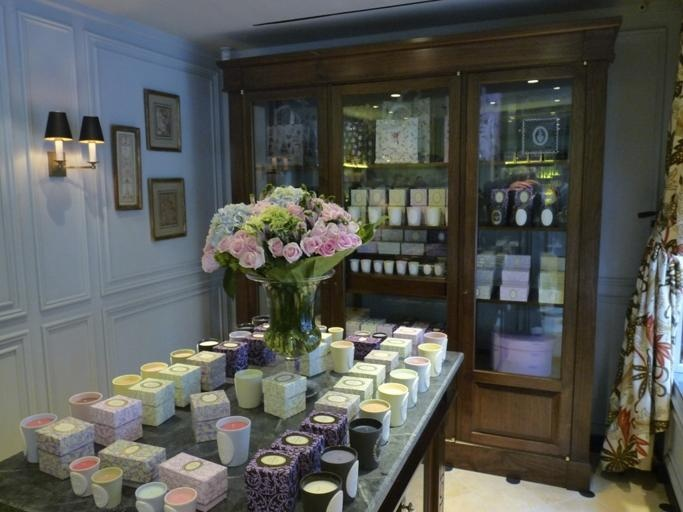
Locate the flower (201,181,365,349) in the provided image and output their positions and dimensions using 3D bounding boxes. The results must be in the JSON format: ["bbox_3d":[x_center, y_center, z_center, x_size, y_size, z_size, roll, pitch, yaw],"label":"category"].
[{"bbox_3d":[-0.242,0.080,2.276,0.741,0.770,0.332,0,9,3],"label":"flower"}]

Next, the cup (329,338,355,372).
[{"bbox_3d":[0.002,0.501,2.545,0.120,0.121,0.130,0,4,0],"label":"cup"}]

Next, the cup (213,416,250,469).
[{"bbox_3d":[-0.411,0.704,1.925,0.123,0.142,0.143,3,1,17],"label":"cup"}]

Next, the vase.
[{"bbox_3d":[-0.224,0.363,2.375,0.408,0.526,0.406,-1,0,25],"label":"vase"}]

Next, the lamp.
[{"bbox_3d":[-1.688,-0.711,3.266,0.351,0.362,0.242,-3,4,-31],"label":"lamp"}]

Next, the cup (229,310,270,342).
[{"bbox_3d":[-0.488,0.402,2.742,0.154,0.088,0.239,2,10,38],"label":"cup"}]

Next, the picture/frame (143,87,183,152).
[{"bbox_3d":[-1.403,-1.062,3.982,0.041,0.602,0.512,2,6,26],"label":"picture/frame"}]

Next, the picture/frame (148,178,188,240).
[{"bbox_3d":[-1.387,-0.375,4.051,0.036,0.521,0.454,4,9,25],"label":"picture/frame"}]

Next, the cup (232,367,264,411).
[{"bbox_3d":[-0.406,0.599,2.264,0.133,0.135,0.121,1,2,0],"label":"cup"}]
